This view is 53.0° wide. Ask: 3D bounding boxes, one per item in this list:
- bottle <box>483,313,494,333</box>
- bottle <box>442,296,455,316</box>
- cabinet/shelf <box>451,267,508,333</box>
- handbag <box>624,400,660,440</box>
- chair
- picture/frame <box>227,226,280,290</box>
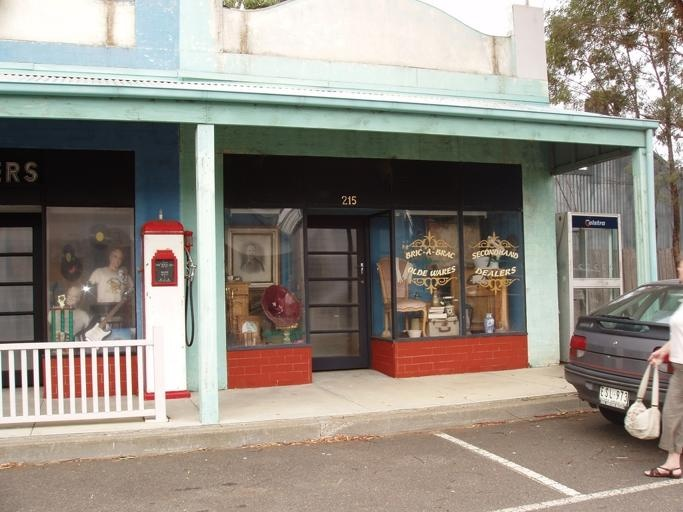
[{"bbox_3d":[2.454,1.117,11.423,0.204,0.305,0.120,-2,10,-8],"label":"bottle"},{"bbox_3d":[1.764,0.833,11.276,0.192,0.317,0.120,-1,10,-3],"label":"bottle"},{"bbox_3d":[2.453,0.753,11.447,0.842,1.002,0.385,-1,10,-6],"label":"cabinet/shelf"},{"bbox_3d":[3.079,1.690,7.034,0.331,0.383,0.279,4,11,25],"label":"handbag"},{"bbox_3d":[0.962,0.673,11.121,0.859,1.286,0.504,2,10,12],"label":"chair"},{"bbox_3d":[-1.371,0.030,10.428,0.977,1.005,0.100,0,-1,-18],"label":"picture/frame"}]
